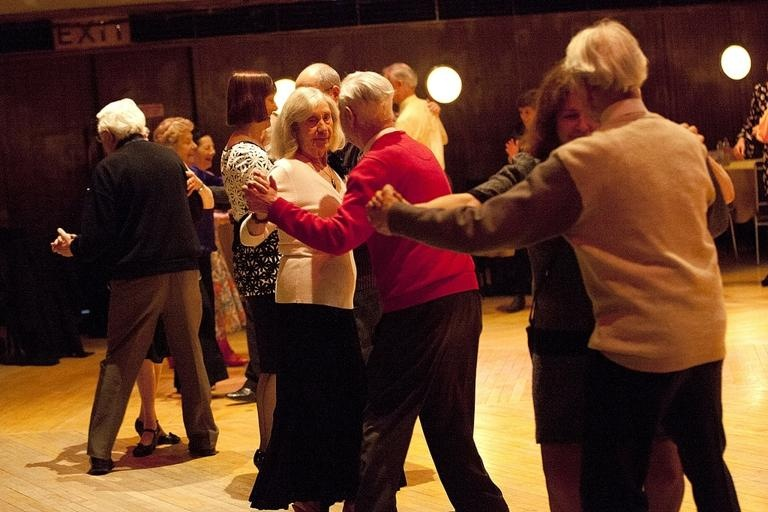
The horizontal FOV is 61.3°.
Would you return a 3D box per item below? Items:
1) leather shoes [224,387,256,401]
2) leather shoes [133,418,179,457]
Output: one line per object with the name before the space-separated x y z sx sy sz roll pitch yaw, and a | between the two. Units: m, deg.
leather shoes | -1.186 1.162 5.509 0.309 0.117 0.103 2 -10 10
leather shoes | -1.577 1.261 4.556 0.138 0.150 0.401 -2 3 14
